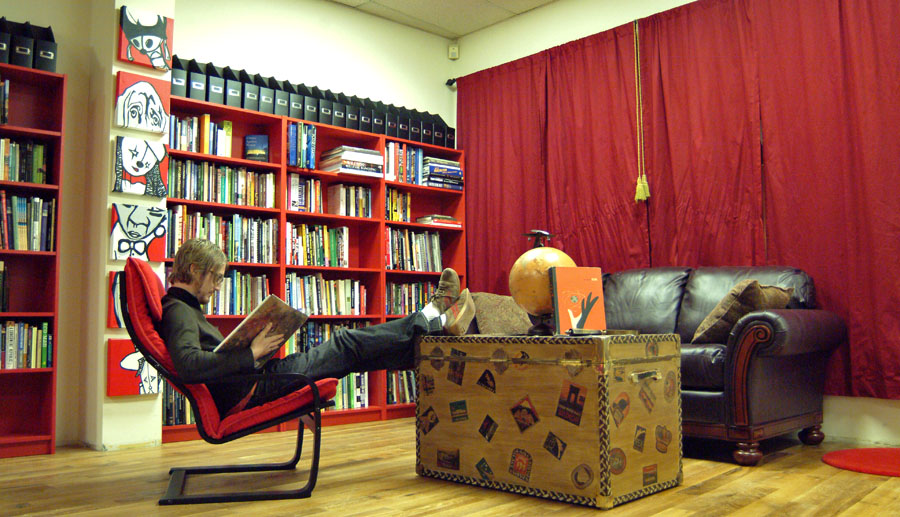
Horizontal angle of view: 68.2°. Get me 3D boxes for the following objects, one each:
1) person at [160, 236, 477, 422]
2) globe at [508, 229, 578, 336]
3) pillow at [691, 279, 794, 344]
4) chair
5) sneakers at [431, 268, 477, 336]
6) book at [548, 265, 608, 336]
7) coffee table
[{"bbox_3d":[-0.959,0.473,4.686,2.278,0.950,1.040,3,3,-30],"label":"person"},{"bbox_3d":[0.654,0.127,4.486,0.577,0.634,0.520,-3,0,-10],"label":"globe"},{"bbox_3d":[2.181,0.394,4.917,0.773,0.453,0.432,-3,-5,7],"label":"pillow"},{"bbox_3d":[-1.604,0.920,5.055,1.948,1.840,1.229,-1,-6,-12],"label":"chair"},{"bbox_3d":[0.034,0.266,4.626,0.239,0.533,0.196,23,-59,-26],"label":"sneakers"},{"bbox_3d":[0.820,0.267,4.271,0.393,0.414,0.086,2,-7,-37],"label":"book"},{"bbox_3d":[0.781,0.932,4.479,1.640,0.845,1.162,-4,-6,37],"label":"coffee table"}]
